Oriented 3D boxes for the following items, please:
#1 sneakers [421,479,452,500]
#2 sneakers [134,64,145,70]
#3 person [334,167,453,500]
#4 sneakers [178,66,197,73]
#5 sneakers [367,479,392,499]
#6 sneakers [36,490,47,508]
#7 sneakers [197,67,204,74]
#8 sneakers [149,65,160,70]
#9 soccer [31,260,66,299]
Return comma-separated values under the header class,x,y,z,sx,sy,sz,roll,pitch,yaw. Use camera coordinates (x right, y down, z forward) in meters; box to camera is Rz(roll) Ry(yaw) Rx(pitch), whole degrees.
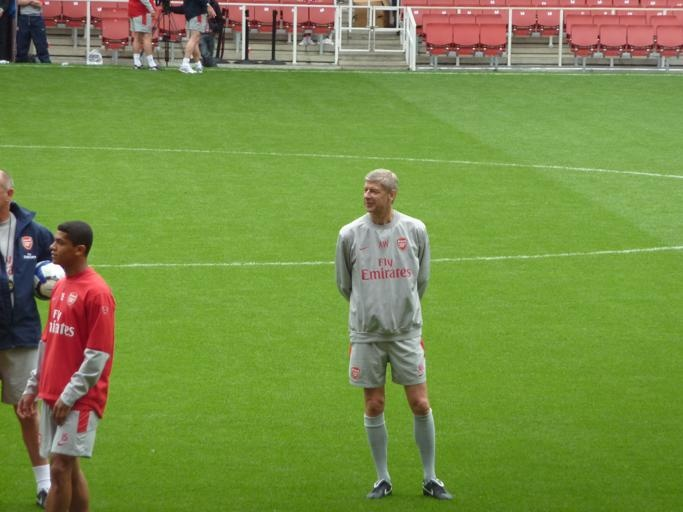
class,x,y,z,sx,sy,sz,roll,pitch,yaw
sneakers,0.941,2.304,13.584,0.346,0.158,0.135,3,10,30
sneakers,-4.447,-4.133,29.801,0.080,0.106,0.238,5,7,23
person,0.461,0.771,13.568,1.023,3.247,0.435,-1,7,-1
sneakers,-3.320,-4.013,29.360,0.395,0.165,0.137,-2,9,-38
sneakers,0.372,2.314,13.624,0.123,0.112,0.276,0,-2,41
sneakers,-2.971,2.375,13.422,0.098,0.117,0.286,1,2,-8
sneakers,-3.105,-4.055,29.807,0.122,0.153,0.154,2,13,-2
sneakers,-4.105,-4.087,29.675,0.240,0.101,0.087,3,8,33
soccer,-2.970,0.204,13.565,0.357,0.398,0.367,0,13,-17
